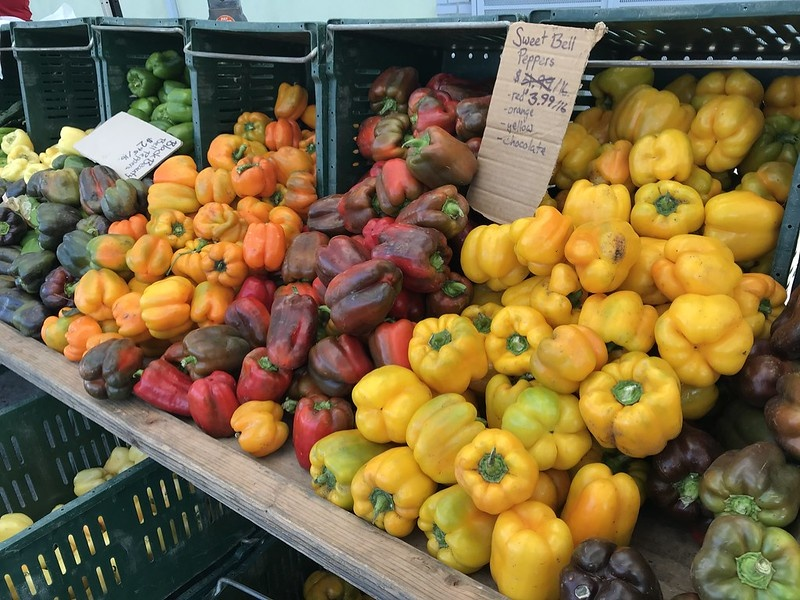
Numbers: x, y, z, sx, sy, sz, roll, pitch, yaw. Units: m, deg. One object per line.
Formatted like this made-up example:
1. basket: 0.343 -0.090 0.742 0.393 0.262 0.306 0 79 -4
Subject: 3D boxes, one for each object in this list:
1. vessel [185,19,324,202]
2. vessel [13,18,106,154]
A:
1. vessel: -1.109 -1.453 4.782 1.119 1.389 0.886 -3 18 -5
2. vessel: -3.094 -2.011 6.301 0.713 1.019 0.704 -6 17 -12
